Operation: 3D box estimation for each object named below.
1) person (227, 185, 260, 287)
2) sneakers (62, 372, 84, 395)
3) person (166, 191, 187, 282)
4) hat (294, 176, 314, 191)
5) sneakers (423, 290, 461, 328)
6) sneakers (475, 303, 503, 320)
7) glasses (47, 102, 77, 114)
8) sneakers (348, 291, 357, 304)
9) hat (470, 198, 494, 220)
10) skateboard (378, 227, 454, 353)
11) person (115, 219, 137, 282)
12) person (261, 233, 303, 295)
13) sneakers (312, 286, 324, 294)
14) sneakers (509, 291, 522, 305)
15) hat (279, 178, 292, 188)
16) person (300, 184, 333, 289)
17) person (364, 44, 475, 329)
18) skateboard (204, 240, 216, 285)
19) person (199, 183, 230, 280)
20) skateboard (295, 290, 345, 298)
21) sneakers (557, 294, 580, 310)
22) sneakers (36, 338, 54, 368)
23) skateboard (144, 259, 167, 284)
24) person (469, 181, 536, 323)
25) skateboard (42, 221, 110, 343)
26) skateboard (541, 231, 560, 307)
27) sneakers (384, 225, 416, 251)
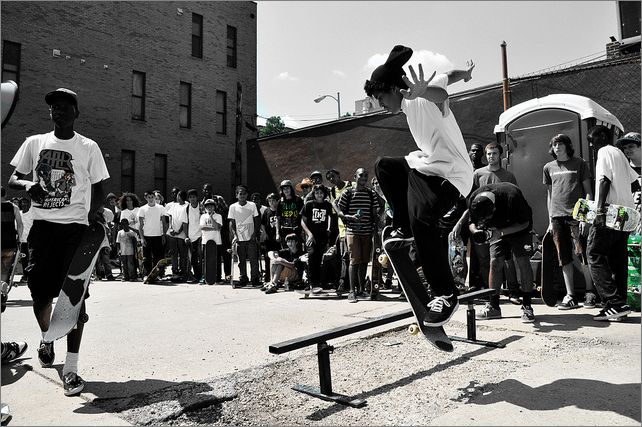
[{"bbox_3d":[-1.742,0.567,12.524,0.698,2.273,0.955,-3,11,-10],"label":"person"},{"bbox_3d":[-2.793,1.923,6.130,0.217,0.199,0.218,-6,12,-25],"label":"sneakers"},{"bbox_3d":[-3.531,0.587,13.498,0.538,2.137,0.777,-4,11,-15],"label":"person"},{"bbox_3d":[-0.409,-0.755,12.582,0.457,0.248,0.624,-4,-10,6],"label":"hat"},{"bbox_3d":[1.403,1.090,6.319,0.241,0.233,0.663,-4,11,38],"label":"sneakers"},{"bbox_3d":[2.708,1.540,8.537,0.575,0.247,0.214,1,-5,3],"label":"sneakers"},{"bbox_3d":[-3.076,-1.257,6.494,0.161,0.073,0.224,-2,-1,-15],"label":"glasses"},{"bbox_3d":[0.588,1.551,10.070,0.175,0.161,0.236,-1,11,4],"label":"sneakers"},{"bbox_3d":[2.116,-0.074,7.277,0.232,0.317,0.321,18,11,7],"label":"hat"},{"bbox_3d":[1.093,0.891,6.597,0.467,1.967,0.286,-18,-10,-5],"label":"skateboard"},{"bbox_3d":[-5.007,0.953,14.164,0.477,1.526,0.754,-6,11,-21],"label":"person"},{"bbox_3d":[-0.850,1.063,11.465,0.539,1.177,0.948,8,14,41],"label":"person"},{"bbox_3d":[-0.090,1.541,10.777,0.236,0.159,0.248,-2,11,-5],"label":"sneakers"},{"bbox_3d":[3.147,1.375,8.852,0.133,0.174,0.437,-10,-15,13],"label":"sneakers"},{"bbox_3d":[-0.802,-0.653,11.978,0.304,0.137,0.303,-6,4,-29],"label":"hat"},{"bbox_3d":[-0.081,0.500,11.087,0.815,2.228,0.703,2,-4,-30],"label":"person"},{"bbox_3d":[1.168,-0.307,6.328,1.118,3.213,0.969,1,11,15],"label":"person"},{"bbox_3d":[-2.536,1.142,12.458,0.281,0.965,0.461,-3,11,-9],"label":"skateboard"},{"bbox_3d":[-2.529,0.621,13.651,0.650,2.710,0.407,-4,5,-38],"label":"person"},{"bbox_3d":[-0.009,1.634,10.797,0.953,0.132,0.287,5,2,-29],"label":"skateboard"},{"bbox_3d":[4.021,1.439,8.845,0.470,0.248,0.189,-5,11,-20],"label":"sneakers"},{"bbox_3d":[-3.372,1.716,6.695,0.155,0.414,0.166,-2,-7,-45],"label":"sneakers"},{"bbox_3d":[-3.989,1.422,13.142,0.950,0.257,0.145,-45,-8,36],"label":"skateboard"},{"bbox_3d":[2.696,0.637,8.019,1.533,2.149,0.772,-10,14,-38],"label":"person"},{"bbox_3d":[-2.809,0.815,6.475,0.444,1.682,0.252,10,-16,11],"label":"skateboard"},{"bbox_3d":[3.602,0.886,8.580,0.309,1.250,0.189,1,-7,-1],"label":"skateboard"},{"bbox_3d":[0.884,0.314,6.633,0.526,0.228,0.182,14,5,34],"label":"sneakers"}]
